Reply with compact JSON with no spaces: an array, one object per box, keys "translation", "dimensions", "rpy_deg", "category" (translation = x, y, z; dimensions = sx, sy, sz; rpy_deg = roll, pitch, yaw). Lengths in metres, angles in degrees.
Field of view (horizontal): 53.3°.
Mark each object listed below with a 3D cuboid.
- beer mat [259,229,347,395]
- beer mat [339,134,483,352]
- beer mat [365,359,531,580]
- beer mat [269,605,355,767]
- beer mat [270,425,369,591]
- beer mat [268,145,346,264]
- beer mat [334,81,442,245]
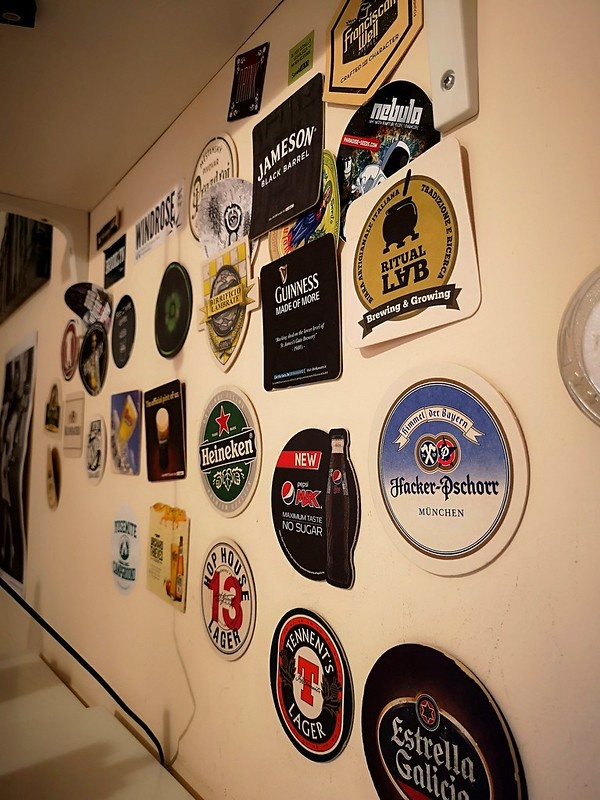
[{"translation":[0.010,-0.151,1.042],"dimensions":[0.009,0.287,0.212],"rpy_deg":[2,-7,-30],"category":"beer mat"},{"translation":[0.148,-0.216,0.844],"dimensions":[0.195,0.284,0.003],"rpy_deg":[-13,-26,31],"category":"beer mat"},{"translation":[0.184,0.096,0.786],"dimensions":[0.198,0.315,0.031],"rpy_deg":[-4,-39,14],"category":"beer mat"},{"translation":[0.014,0.467,0.989],"dimensions":[0.013,0.233,0.230],"rpy_deg":[5,-8,-34],"category":"beer mat"},{"translation":[0.021,0.177,1.006],"dimensions":[0.020,0.254,0.248],"rpy_deg":[4,-8,-33],"category":"beer mat"},{"translation":[0.016,-0.340,1.046],"dimensions":[0.010,0.280,0.181],"rpy_deg":[5,-6,-33],"category":"beer mat"},{"translation":[0.134,-0.347,0.878],"dimensions":[0.011,0.302,0.201],"rpy_deg":[3,5,-30],"category":"beer mat"}]
